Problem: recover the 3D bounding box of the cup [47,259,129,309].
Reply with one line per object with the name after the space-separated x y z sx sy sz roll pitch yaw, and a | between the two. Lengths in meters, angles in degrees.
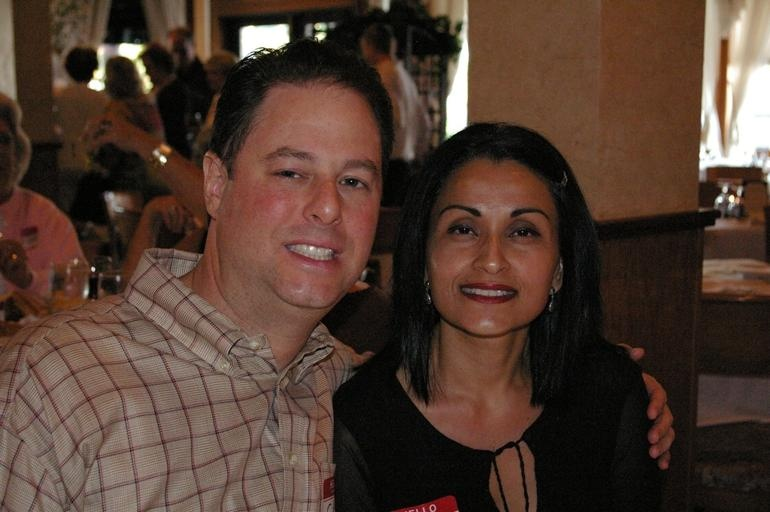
-1.547 0.142 3.873 0.335 0.258 0.336 0 -3 0 | cup
